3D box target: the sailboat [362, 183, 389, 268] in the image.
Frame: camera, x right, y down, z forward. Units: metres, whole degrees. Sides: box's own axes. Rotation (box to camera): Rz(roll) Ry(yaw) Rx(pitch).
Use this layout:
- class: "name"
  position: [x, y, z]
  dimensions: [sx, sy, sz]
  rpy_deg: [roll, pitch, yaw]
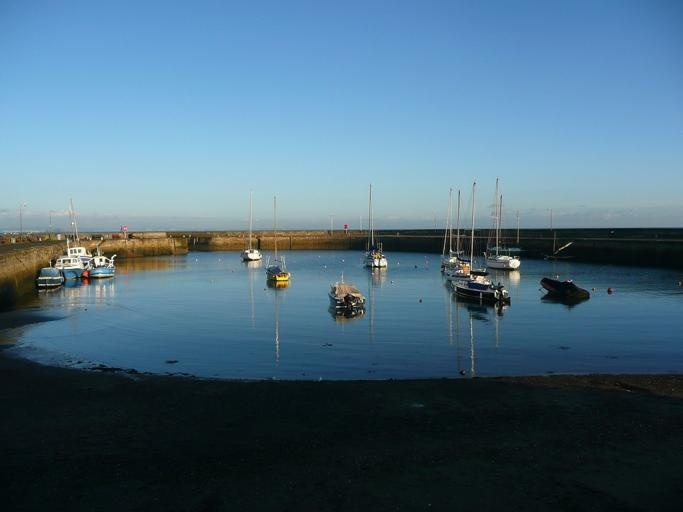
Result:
- class: "sailboat"
  position: [3.543, -1.201, 70.717]
  dimensions: [1.792, 8.299, 1.856]
  rpy_deg: [0, 9, -22]
